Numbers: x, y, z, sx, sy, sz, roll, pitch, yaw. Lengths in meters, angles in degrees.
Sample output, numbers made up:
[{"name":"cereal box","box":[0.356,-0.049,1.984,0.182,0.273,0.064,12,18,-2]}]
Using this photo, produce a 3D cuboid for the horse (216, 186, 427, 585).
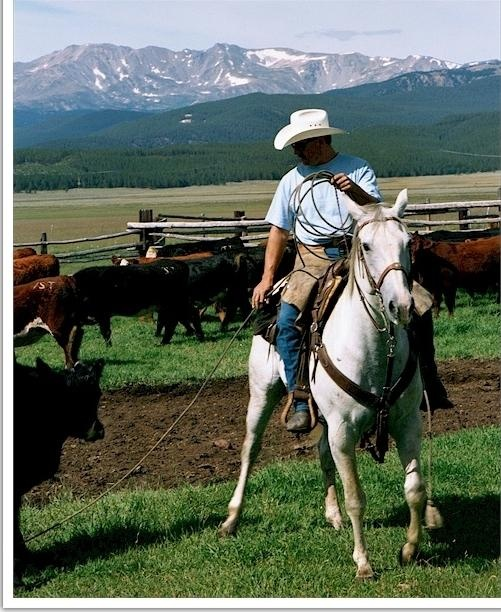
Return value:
[{"name":"horse","box":[0.601,0.695,5.468,1.149,2.575,3.417,0,-3,-12]}]

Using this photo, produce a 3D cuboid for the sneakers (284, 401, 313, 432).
[{"name":"sneakers","box":[0.331,0.803,5.145,0.186,0.215,0.233,2,-16,2]}]

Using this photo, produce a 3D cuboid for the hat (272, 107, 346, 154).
[{"name":"hat","box":[0.449,-1.378,5.412,0.600,0.227,0.439,-17,21,-11]}]

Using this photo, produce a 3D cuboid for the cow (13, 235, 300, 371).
[{"name":"cow","box":[-2.640,-0.110,13.109,7.348,2.282,1.615,-5,0,-36]}]
